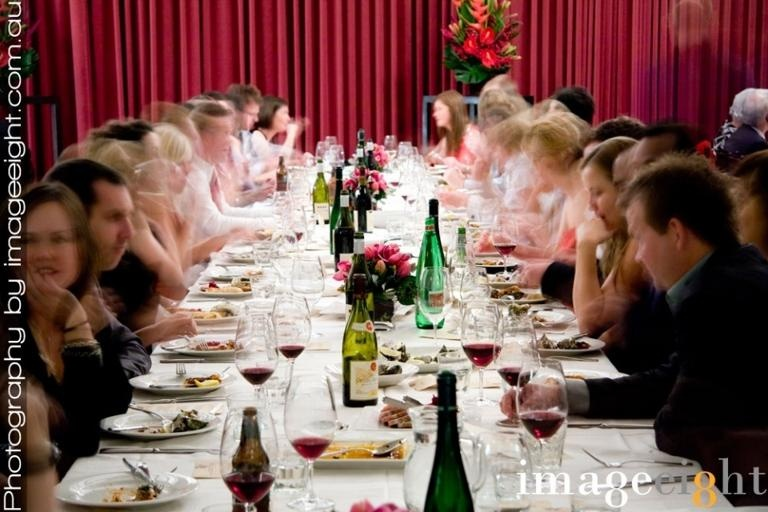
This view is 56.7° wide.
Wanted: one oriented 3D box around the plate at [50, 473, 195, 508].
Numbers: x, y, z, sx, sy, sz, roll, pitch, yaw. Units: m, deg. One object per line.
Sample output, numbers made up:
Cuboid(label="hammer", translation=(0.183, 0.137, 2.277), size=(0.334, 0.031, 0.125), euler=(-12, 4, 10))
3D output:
Cuboid(label="plate", translation=(-0.545, 0.502, 1.516), size=(0.293, 0.034, 0.128), euler=(-3, 2, -5))

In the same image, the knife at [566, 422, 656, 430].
Cuboid(label="knife", translation=(0.564, 0.430, 1.793), size=(0.212, 0.011, 0.030), euler=(2, -2, -16))

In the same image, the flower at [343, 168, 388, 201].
Cuboid(label="flower", translation=(-0.119, -0.438, 4.361), size=(0.205, 0.152, 0.215), euler=(3, 2, 17))

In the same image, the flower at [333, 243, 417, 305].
Cuboid(label="flower", translation=(-0.017, 0.051, 2.508), size=(0.220, 0.239, 0.228), euler=(0, -2, -2))
